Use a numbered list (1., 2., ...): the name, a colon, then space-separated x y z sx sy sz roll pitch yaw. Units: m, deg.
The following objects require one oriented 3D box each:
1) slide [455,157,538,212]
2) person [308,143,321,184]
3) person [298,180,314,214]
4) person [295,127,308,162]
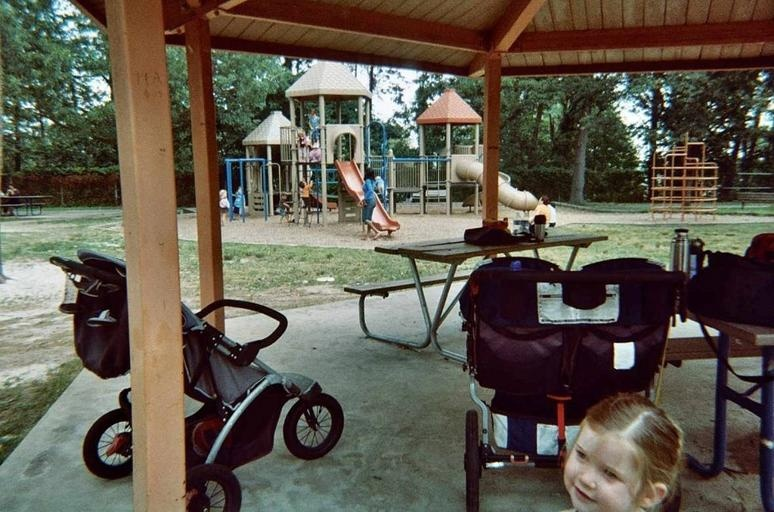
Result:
1. slide: 4.439 -2.303 23.226 2.579 0.940 1.418 14 9 23
2. person: -2.169 -3.024 19.145 0.400 1.003 1.859 3 -4 -8
3. person: -2.460 -1.759 18.791 0.415 1.029 1.535 -2 10 -6
4. person: -2.559 -3.407 18.883 0.416 0.956 0.598 -3 10 -9
